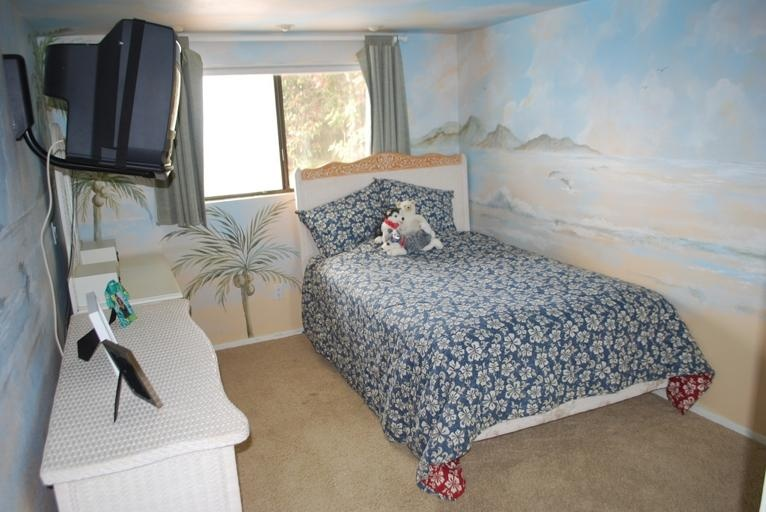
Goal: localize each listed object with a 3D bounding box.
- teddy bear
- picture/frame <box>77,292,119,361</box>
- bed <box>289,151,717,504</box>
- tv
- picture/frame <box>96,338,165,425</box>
[{"bbox_3d":[0.214,-0.235,4.603,0.551,0.422,0.407,-2,8,-15],"label":"teddy bear"},{"bbox_3d":[-1.480,0.381,2.689,0.146,0.268,0.256,-8,27,-21],"label":"picture/frame"},{"bbox_3d":[0.639,0.218,4.104,2.145,1.862,2.878,-14,20,-28],"label":"bed"},{"bbox_3d":[-1.254,-0.853,2.719,0.776,0.853,0.492,-2,24,-27],"label":"tv"},{"bbox_3d":[-1.171,0.565,2.346,0.253,0.350,0.198,11,22,37],"label":"picture/frame"}]
